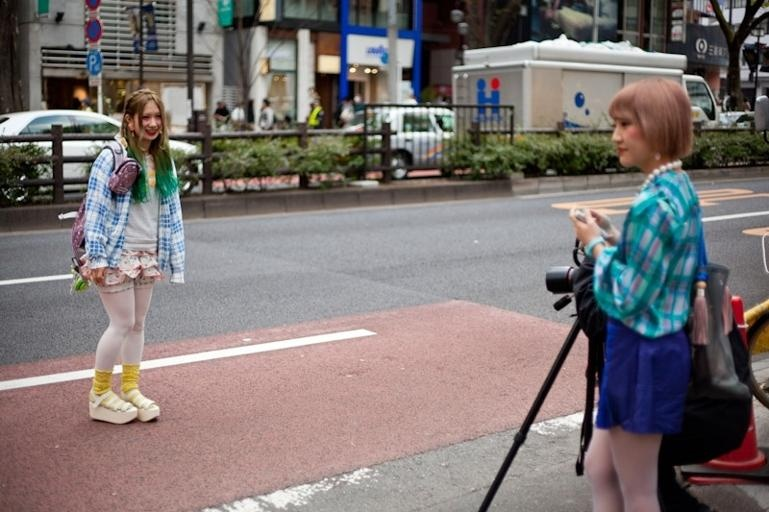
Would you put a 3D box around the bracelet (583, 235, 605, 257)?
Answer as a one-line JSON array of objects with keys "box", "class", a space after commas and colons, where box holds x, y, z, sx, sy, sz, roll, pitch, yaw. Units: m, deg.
[{"box": [0.827, -0.022, 2.570, 0.077, 0.030, 0.081, -38, -9, -42], "class": "bracelet"}]

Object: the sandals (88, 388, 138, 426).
[{"box": [-1.870, 1.070, 4.573, 0.347, 0.267, 0.175, 2, 5, 1], "class": "sandals"}]

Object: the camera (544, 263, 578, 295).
[{"box": [0.824, 0.113, 2.979, 0.127, 0.120, 0.105, 0, 5, 8], "class": "camera"}]

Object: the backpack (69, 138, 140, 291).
[{"box": [-1.910, -0.267, 4.415, 0.570, 1.031, 0.368, -3, 9, -7], "class": "backpack"}]

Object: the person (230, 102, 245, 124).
[{"box": [-5.450, -5.327, 24.131, 0.463, 0.724, 1.648, -4, 11, -15], "class": "person"}]

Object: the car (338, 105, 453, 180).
[{"box": [0.410, -3.049, 17.586, 2.763, 1.557, 1.731, -8, 16, -24], "class": "car"}]

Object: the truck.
[{"box": [6.643, -5.863, 21.497, 7.825, 4.425, 4.977, -7, 15, -22], "class": "truck"}]

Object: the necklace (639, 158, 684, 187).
[{"box": [1.073, -0.328, 2.474, 0.110, 0.029, 0.117, -37, 4, 29], "class": "necklace"}]

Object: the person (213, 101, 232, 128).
[{"box": [-5.577, -4.870, 22.265, 0.532, 0.958, 3.551, -4, 12, -13], "class": "person"}]
